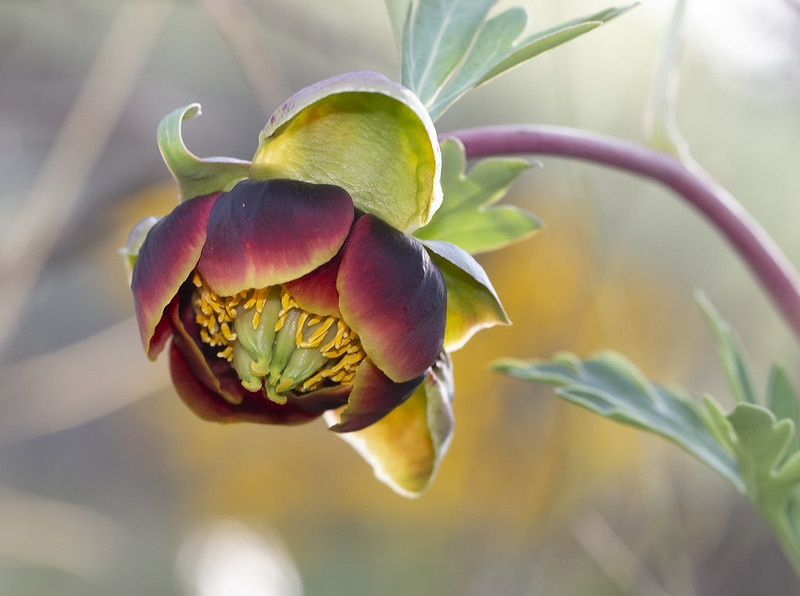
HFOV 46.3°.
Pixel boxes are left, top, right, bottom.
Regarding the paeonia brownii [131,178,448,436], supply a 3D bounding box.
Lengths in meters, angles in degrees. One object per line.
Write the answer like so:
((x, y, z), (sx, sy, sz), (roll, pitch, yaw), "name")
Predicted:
((-0.104, -0.011, 1.481), (0.480, 0.409, 0.580), (8, -5, 6), "paeonia brownii")
